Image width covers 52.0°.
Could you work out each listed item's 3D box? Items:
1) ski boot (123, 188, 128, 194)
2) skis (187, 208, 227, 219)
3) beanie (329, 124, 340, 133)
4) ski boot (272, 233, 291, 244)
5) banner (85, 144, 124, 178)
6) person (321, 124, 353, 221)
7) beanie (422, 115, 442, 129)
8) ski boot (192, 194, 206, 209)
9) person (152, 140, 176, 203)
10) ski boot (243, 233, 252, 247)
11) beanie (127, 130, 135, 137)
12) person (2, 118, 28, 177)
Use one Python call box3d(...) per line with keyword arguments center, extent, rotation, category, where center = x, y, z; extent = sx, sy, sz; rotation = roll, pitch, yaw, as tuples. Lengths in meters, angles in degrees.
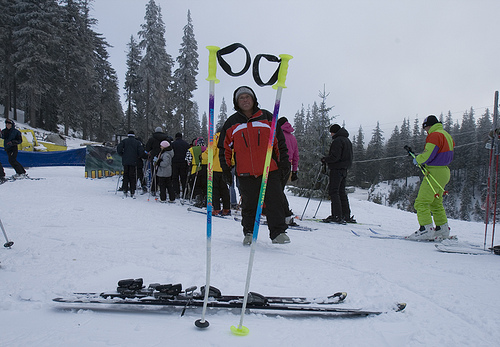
box3d(center=(-5.428, 0.735, 22.309), extent=(0.195, 0.226, 0.515), rotation=(4, 1, -17), category="ski boot")
box3d(center=(-1.643, 1.533, 19.716), extent=(1.690, 0.120, 0.242), rotation=(18, 14, 18), category="skis")
box3d(center=(3.391, -1.816, 20.599), extent=(0.203, 0.356, 0.635), rotation=(3, 1, -38), category="beanie")
box3d(center=(1.062, 2.204, 17.472), extent=(0.513, 0.249, 0.275), rotation=(1, -3, -22), category="ski boot")
box3d(center=(-7.730, -0.608, 26.769), extent=(0.482, 1.588, 1.948), rotation=(4, 1, 45), category="banner")
box3d(center=(3.495, -0.051, 20.518), extent=(1.115, 3.881, 0.649), rotation=(4, 0, -1), category="person")
box3d(center=(6.619, -1.897, 18.828), extent=(0.556, 0.494, 0.418), rotation=(4, 1, 18), category="beanie")
box3d(center=(-2.127, 1.165, 21.546), extent=(0.354, 0.508, 0.498), rotation=(3, -11, -6), category="ski boot")
box3d(center=(-3.647, -0.094, 22.002), extent=(1.035, 2.543, 0.604), rotation=(3, 0, -26), category="person")
box3d(center=(-0.074, 2.258, 17.663), extent=(0.184, 0.533, 0.237), rotation=(14, 6, 1), category="ski boot")
box3d(center=(-5.183, -1.744, 22.441), extent=(0.226, 0.286, 0.290), rotation=(7, -24, -29), category="beanie")
box3d(center=(-10.784, -1.157, 23.423), extent=(1.026, 2.412, 0.765), rotation=(3, 0, -31), category="person")
